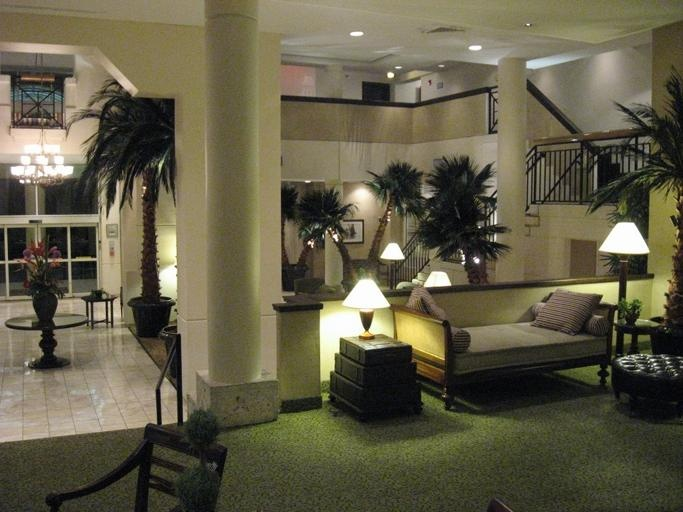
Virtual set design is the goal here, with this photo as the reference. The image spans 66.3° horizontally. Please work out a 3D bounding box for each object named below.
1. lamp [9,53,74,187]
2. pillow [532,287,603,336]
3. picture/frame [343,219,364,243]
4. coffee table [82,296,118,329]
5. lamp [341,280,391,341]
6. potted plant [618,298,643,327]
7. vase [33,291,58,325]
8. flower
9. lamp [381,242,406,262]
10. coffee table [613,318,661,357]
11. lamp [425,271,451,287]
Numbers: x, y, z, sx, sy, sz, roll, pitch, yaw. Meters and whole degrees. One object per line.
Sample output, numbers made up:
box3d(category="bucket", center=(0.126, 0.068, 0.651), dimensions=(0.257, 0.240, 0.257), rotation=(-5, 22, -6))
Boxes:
box3d(category="lamp", center=(-7.343, -3.251, 12.783), dimensions=(1.192, 2.633, 1.088), rotation=(-5, 13, -36))
box3d(category="pillow", center=(2.899, 0.666, 6.861), dimensions=(0.902, 0.194, 0.866), rotation=(-30, 15, -38))
box3d(category="picture/frame", center=(0.363, -0.841, 16.950), dimensions=(0.777, 0.703, 0.062), rotation=(-5, 7, -40))
box3d(category="coffee table", center=(-5.274, 1.238, 11.437), dimensions=(0.766, 0.717, 0.784), rotation=(-2, 1, -31))
box3d(category="lamp", center=(0.272, 0.574, 6.096), dimensions=(0.567, 0.740, 0.602), rotation=(-4, 7, -16))
box3d(category="potted plant", center=(3.813, 0.726, 6.998), dimensions=(0.318, 0.384, 0.354), rotation=(1, 9, 24))
box3d(category="vase", center=(-4.952, 0.841, 8.814), dimensions=(0.372, 0.437, 0.381), rotation=(14, 10, 37))
box3d(category="flower", center=(-5.108, 0.324, 9.076), dimensions=(0.684, 1.032, 0.814), rotation=(-4, 7, 10))
box3d(category="lamp", center=(1.117, -0.082, 11.360), dimensions=(0.570, 0.519, 0.592), rotation=(1, 1, -3))
box3d(category="coffee table", center=(3.914, 1.108, 7.207), dimensions=(0.498, 0.517, 0.449), rotation=(1, -10, 39))
box3d(category="lamp", center=(1.545, 0.386, 8.468), dimensions=(0.317, 0.306, 0.331), rotation=(0, -4, 22))
